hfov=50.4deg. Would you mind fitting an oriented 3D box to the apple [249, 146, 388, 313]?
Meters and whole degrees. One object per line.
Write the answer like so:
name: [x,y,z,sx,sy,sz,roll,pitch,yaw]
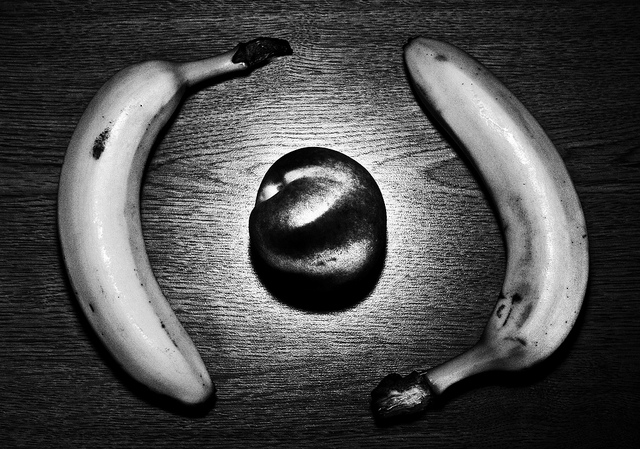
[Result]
apple: [0.019,0.008,1.222,0.305,0.160,0.258,5,-54,12]
